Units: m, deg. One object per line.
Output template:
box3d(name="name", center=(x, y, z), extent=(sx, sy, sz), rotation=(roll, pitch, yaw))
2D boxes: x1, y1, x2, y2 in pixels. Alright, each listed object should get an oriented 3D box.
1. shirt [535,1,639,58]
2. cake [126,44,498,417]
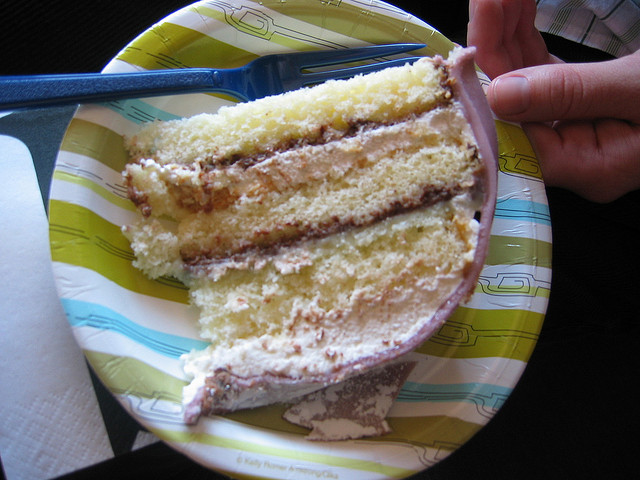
box3d(name="shirt", center=(0.737, -0.600, 1.623), extent=(0.294, 0.077, 0.141), rotation=(14, 78, 2))
box3d(name="cake", center=(0.004, -0.002, 1.264), extent=(0.818, 0.241, 0.664), rotation=(-11, 78, -3))
